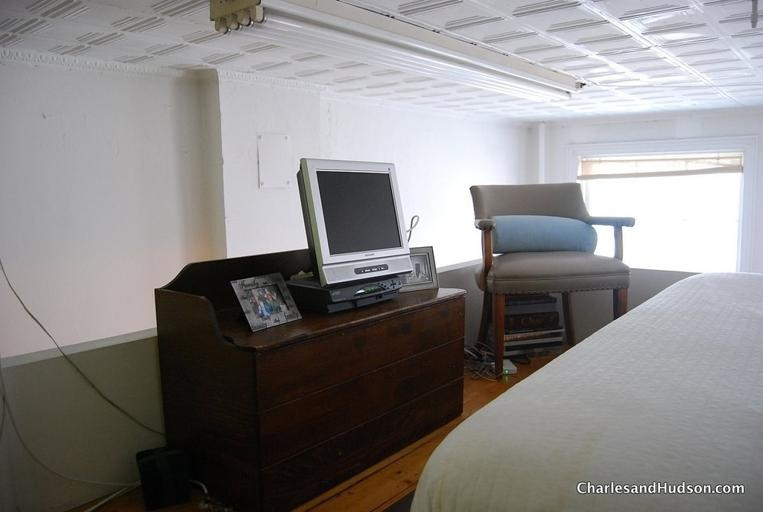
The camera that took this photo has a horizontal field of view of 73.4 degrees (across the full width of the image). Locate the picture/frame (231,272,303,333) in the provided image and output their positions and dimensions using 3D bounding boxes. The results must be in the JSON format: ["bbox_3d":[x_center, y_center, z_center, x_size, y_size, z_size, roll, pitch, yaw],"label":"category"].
[{"bbox_3d":[-0.495,0.207,2.152,0.226,0.211,0.016,-11,-18,-47],"label":"picture/frame"}]

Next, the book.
[{"bbox_3d":[0.984,0.390,3.498,0.543,0.331,0.394,-3,4,-18],"label":"book"}]

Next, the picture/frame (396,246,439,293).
[{"bbox_3d":[0.171,0.081,2.655,0.236,0.205,0.022,5,-12,-38],"label":"picture/frame"}]
